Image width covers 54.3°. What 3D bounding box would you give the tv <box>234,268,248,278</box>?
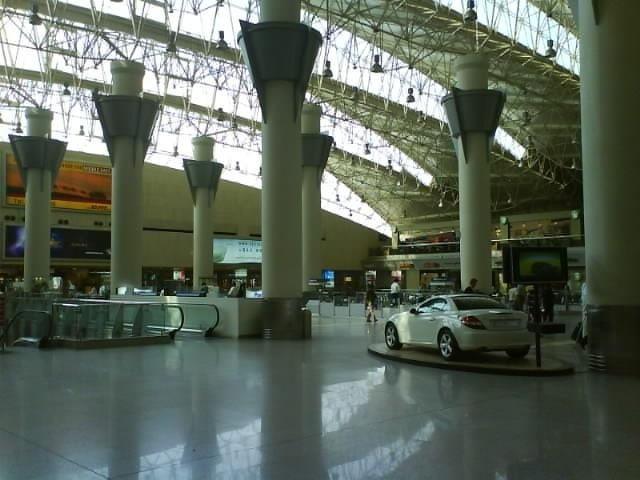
[{"bbox_3d":[-8.067,3.392,63.731,1.231,0.965,2.278,1,-1,-12],"label":"tv"}]

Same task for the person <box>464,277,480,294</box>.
[{"bbox_3d":[5.362,1.609,22.033,0.364,0.815,0.575,-2,5,3],"label":"person"}]

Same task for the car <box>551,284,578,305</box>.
[{"bbox_3d":[15.199,3.428,38.770,1.532,0.936,2.313,-1,-5,4],"label":"car"}]

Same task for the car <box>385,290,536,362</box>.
[{"bbox_3d":[3.020,1.947,14.884,1.380,1.137,3.079,1,-2,-20],"label":"car"}]

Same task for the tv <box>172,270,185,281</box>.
[{"bbox_3d":[-13.612,3.286,60.077,1.186,0.795,0.585,1,-1,5],"label":"tv"}]
